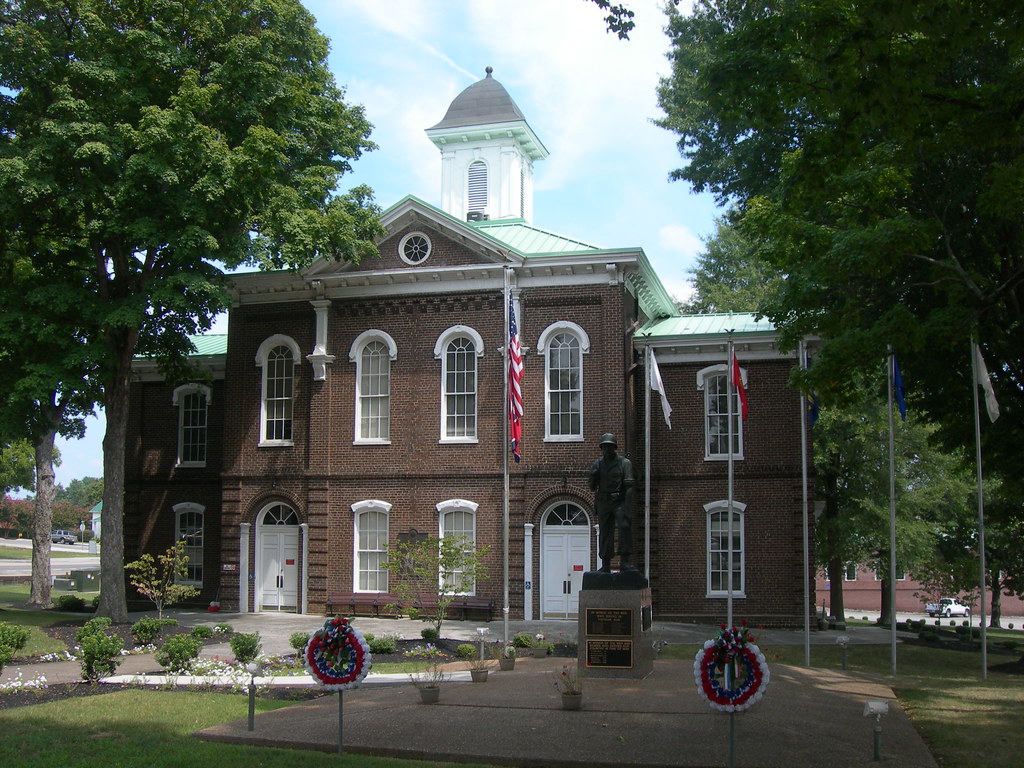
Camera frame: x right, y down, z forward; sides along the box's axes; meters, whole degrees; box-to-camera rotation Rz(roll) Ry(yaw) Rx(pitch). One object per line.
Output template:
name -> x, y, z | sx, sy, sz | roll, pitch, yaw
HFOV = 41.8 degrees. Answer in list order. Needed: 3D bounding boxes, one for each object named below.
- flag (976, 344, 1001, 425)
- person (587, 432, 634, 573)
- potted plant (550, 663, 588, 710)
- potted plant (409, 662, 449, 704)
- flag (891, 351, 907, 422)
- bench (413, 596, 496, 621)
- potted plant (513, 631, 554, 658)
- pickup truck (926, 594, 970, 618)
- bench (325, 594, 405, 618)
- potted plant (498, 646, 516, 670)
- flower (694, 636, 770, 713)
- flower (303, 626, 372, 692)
flag -> 11.263, -0.068, 31.810 | 0.386, 1.969, 1.817 | -4, -13, 20
person -> 2.348, 2.794, 31.814 | 0.925, 3.367, 1.145 | 2, -12, -10
potted plant -> 1.189, 6.246, 27.589 | 0.733, 0.937, 0.645 | 0, -18, 0
potted plant -> -1.887, 6.342, 28.897 | 0.901, 1.084, 0.806 | 0, -19, -2
flag -> 9.599, 0.100, 33.245 | 0.206, 1.320, 1.857 | -4, -13, 19
bench -> -1.708, 6.968, 41.759 | 2.474, 0.731, 0.644 | -4, -13, 15
potted plant -> 0.564, 6.819, 35.125 | 0.861, 0.569, 1.237 | 6, -14, -29
pickup truck -> 22.441, 11.470, 69.208 | 1.787, 1.249, 3.967 | -5, -13, 18
bench -> -4.749, 7.048, 42.813 | 2.878, 0.779, 0.784 | -7, -14, 27
potted plant -> -0.086, 6.582, 32.156 | 0.337, 0.388, 0.319 | 2, -16, -5
flower -> 3.942, 5.166, 24.162 | 1.264, 1.433, 0.387 | -2, -12, 8
flower -> -3.251, 5.076, 25.066 | 1.113, 1.223, 0.371 | -4, -5, 5
